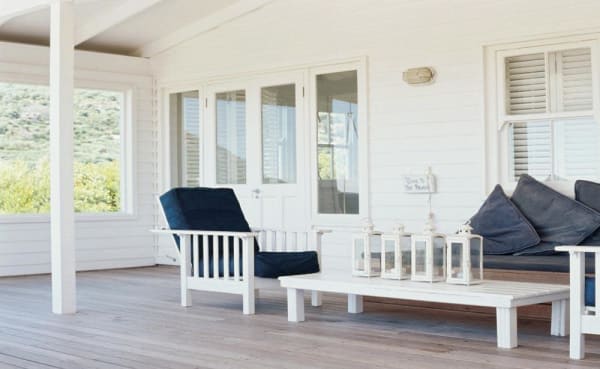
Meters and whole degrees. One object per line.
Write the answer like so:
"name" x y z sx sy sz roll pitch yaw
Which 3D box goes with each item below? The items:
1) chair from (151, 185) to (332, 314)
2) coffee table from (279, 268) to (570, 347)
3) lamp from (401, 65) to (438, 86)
"chair" -0.681 0.656 5.656 1.620 1.281 0.929 -1 2 31
"coffee table" 1.100 1.059 4.545 2.253 0.454 0.668 0 1 24
"lamp" 1.486 -1.387 6.490 0.391 0.229 0.102 0 2 35
